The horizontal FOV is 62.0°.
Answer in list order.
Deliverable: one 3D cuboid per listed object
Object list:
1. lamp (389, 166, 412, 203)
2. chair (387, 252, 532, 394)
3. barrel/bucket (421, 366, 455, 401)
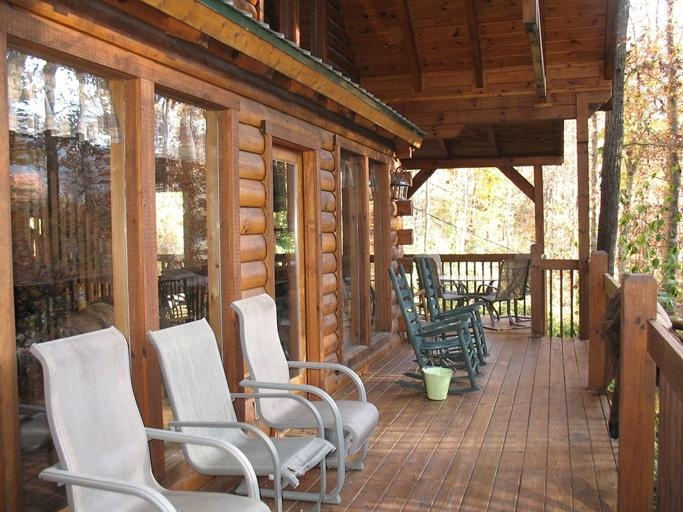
[{"bbox_3d":[0.846,-1.059,8.157,0.194,0.521,0.671,1,5,15],"label":"lamp"},{"bbox_3d":[1.166,0.706,6.685,1.037,1.283,2.241,1,5,14],"label":"chair"},{"bbox_3d":[0.963,1.272,5.688,0.264,0.243,0.274,-1,-5,0],"label":"barrel/bucket"}]
